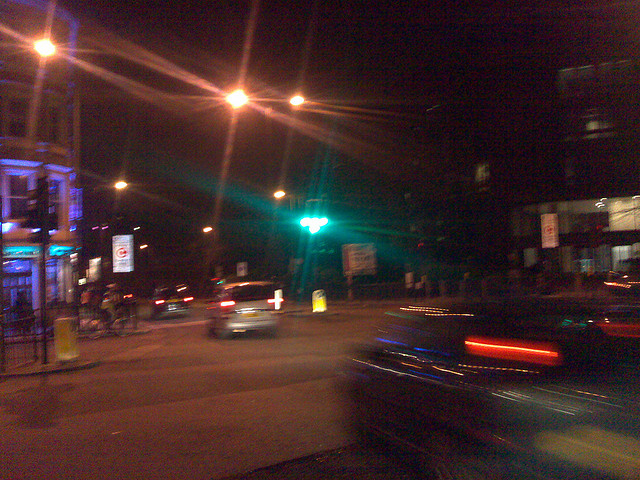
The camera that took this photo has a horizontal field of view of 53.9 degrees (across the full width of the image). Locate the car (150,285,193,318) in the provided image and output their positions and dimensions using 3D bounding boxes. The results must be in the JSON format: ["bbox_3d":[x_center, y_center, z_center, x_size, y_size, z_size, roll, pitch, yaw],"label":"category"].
[{"bbox_3d":[-7.314,3.027,30.778,1.414,1.238,2.285,-1,5,25],"label":"car"}]

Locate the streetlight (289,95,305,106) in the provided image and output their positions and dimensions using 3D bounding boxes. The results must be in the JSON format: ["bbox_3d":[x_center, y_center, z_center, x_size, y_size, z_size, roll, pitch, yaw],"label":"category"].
[{"bbox_3d":[-0.629,-3.678,16.379,0.332,0.090,0.363,9,8,-13],"label":"streetlight"}]

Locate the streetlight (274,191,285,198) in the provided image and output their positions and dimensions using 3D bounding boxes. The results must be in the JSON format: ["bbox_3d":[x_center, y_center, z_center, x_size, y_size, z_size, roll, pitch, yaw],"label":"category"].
[{"bbox_3d":[-2.196,-2.423,32.283,0.546,0.116,0.497,-13,-5,-42],"label":"streetlight"}]

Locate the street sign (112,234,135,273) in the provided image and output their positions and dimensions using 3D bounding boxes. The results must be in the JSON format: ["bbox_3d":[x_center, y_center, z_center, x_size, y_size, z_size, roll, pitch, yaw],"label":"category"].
[{"bbox_3d":[-11.224,0.771,35.681,1.340,2.056,0.819,-8,8,-32],"label":"street sign"}]

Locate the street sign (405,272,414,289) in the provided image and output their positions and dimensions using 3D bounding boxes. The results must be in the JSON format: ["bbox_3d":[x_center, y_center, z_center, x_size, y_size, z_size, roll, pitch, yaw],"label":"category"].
[{"bbox_3d":[4.722,2.199,33.555,0.485,0.980,1.120,-3,5,7],"label":"street sign"}]

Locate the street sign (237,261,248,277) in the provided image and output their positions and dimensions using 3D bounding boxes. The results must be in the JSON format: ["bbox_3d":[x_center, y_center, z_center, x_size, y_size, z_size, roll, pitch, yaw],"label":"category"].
[{"bbox_3d":[-4.919,1.864,39.740,0.562,0.937,1.350,-5,5,-12],"label":"street sign"}]

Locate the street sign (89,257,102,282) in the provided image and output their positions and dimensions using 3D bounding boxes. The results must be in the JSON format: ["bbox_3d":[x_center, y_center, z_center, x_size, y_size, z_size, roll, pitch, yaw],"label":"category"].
[{"bbox_3d":[-13.889,1.873,38.876,0.311,1.915,1.515,6,-8,-35],"label":"street sign"}]

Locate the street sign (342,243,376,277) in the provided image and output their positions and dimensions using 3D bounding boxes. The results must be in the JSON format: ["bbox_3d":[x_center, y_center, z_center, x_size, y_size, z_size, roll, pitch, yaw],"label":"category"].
[{"bbox_3d":[1.902,0.988,32.793,1.852,1.544,1.745,-2,-4,5],"label":"street sign"}]

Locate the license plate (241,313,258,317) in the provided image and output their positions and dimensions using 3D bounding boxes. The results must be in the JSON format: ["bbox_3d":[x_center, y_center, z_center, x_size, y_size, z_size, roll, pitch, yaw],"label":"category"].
[{"bbox_3d":[-2.147,2.279,19.045,0.498,0.146,0.044,-4,7,-15],"label":"license plate"}]

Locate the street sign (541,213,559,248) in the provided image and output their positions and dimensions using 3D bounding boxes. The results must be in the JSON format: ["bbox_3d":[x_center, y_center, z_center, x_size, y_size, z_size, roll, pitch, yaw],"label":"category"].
[{"bbox_3d":[8.282,-0.344,22.729,0.530,1.220,0.690,-2,7,15],"label":"street sign"}]

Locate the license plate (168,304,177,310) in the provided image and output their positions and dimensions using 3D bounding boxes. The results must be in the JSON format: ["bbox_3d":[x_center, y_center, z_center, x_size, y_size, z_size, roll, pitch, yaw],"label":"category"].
[{"bbox_3d":[-7.143,3.248,30.285,0.432,0.238,0.083,-2,-9,-21],"label":"license plate"}]

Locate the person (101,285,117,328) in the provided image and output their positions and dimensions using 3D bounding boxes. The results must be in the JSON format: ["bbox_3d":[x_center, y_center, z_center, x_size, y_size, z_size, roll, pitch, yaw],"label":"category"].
[{"bbox_3d":[-7.744,2.503,23.115,0.511,1.252,1.367,-6,6,-17],"label":"person"}]
